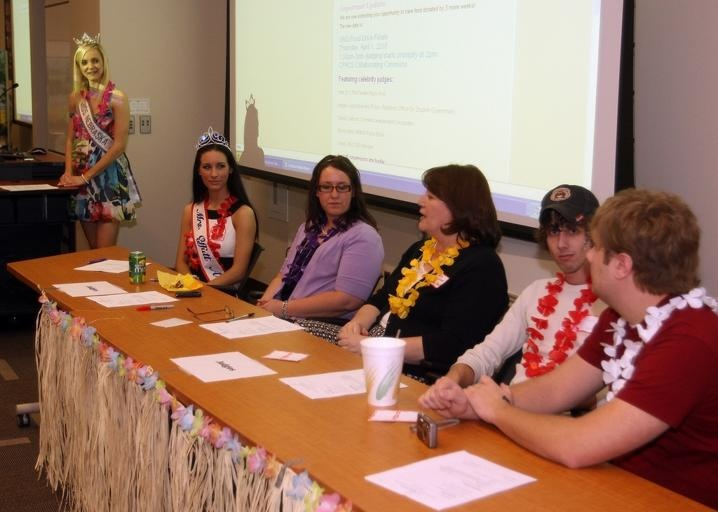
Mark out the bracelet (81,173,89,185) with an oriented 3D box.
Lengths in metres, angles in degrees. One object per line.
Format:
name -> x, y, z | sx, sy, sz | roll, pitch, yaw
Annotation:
bracelet -> -2.436, -0.704, 4.987 | 0.031, 0.088, 0.063 | -37, -9, 19

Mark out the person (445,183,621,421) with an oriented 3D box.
person -> 0.764, 0.119, 2.427 | 0.825, 1.078, 0.628 | -3, 7, -26

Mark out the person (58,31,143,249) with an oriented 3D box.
person -> -2.435, -1.014, 5.073 | 0.605, 1.890, 0.500 | 2, 12, 9

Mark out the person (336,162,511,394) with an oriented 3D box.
person -> 0.134, 0.057, 3.017 | 0.893, 1.281, 0.958 | -1, 5, -11

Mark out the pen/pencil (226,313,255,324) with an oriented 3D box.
pen/pencil -> -0.537, 0.279, 2.512 | 0.017, 0.021, 0.175 | 4, 5, 25

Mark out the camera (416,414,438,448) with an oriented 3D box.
camera -> 0.180, 0.473, 1.515 | 0.064, 0.074, 0.050 | -3, -3, -15

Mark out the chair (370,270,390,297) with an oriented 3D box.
chair -> 0.128, 0.162, 3.585 | 0.113, 0.170, 0.130 | 2, 1, -17

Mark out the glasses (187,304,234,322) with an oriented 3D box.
glasses -> -0.681, 0.265, 2.573 | 0.105, 0.035, 0.101 | -10, 18, -26

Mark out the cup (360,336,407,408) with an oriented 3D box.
cup -> 0.071, 0.343, 1.739 | 0.126, 0.216, 0.137 | 0, 12, 0

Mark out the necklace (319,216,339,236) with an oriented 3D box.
necklace -> -0.193, -0.187, 3.392 | 0.086, 0.112, 0.120 | -1, -9, 1

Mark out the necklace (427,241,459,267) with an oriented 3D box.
necklace -> 0.388, -0.011, 2.694 | 0.115, 0.129, 0.036 | 15, 6, 41

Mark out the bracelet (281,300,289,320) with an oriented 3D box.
bracelet -> -0.438, 0.315, 3.272 | 0.038, 0.090, 0.067 | 1, -17, 0
